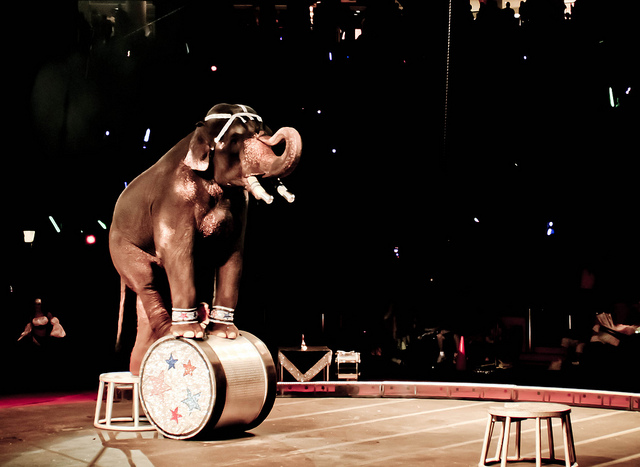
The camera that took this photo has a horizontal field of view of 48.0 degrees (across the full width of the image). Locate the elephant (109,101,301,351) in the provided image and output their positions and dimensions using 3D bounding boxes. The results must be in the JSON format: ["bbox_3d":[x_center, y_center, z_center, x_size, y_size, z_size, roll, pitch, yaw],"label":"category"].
[{"bbox_3d":[-0.968,-0.001,5.877,2.487,1.813,0.780,-17,-16,42],"label":"elephant"}]
